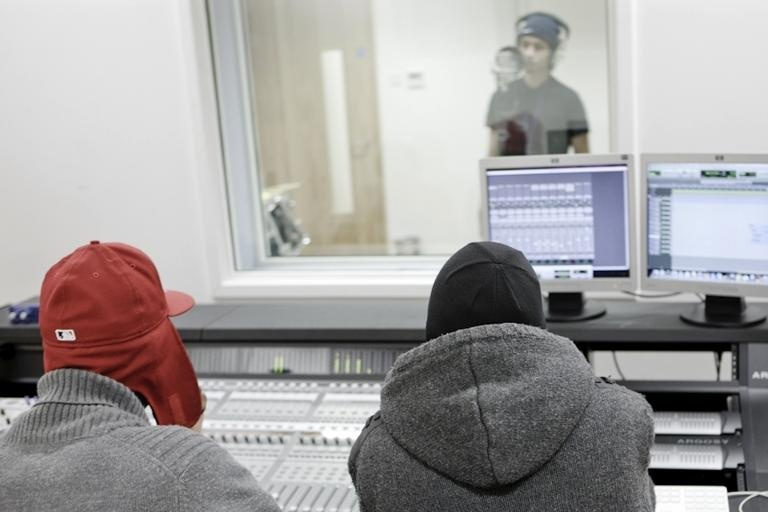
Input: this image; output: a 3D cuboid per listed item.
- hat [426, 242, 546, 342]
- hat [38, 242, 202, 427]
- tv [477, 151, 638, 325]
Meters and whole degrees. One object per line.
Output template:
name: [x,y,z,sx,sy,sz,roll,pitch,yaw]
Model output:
hat: [0.250,0.075,1.684,0.205,0.150,0.280,0,5,0]
hat: [-0.809,0.131,2.172,0.399,0.394,0.656,-3,8,2]
tv: [0.650,-0.064,2.885,0.678,0.622,0.227,-3,3,-17]
